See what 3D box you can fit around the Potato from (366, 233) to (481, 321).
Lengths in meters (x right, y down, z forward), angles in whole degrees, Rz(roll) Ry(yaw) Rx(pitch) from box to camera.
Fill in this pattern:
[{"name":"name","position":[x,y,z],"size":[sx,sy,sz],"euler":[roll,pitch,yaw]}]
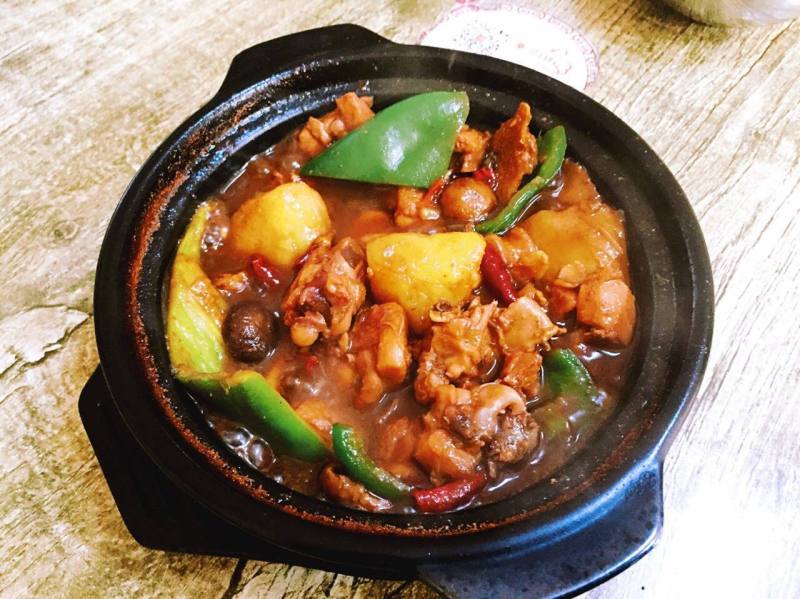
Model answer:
[{"name":"Potato","position":[0.236,-0.100,3.924],"size":[0.202,0.490,0.555],"euler":[30,-3,-13]}]

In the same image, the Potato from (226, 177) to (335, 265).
[{"name":"Potato","position":[-0.585,-0.452,4.249],"size":[0.653,0.358,0.639],"euler":[-15,28,-29]}]
